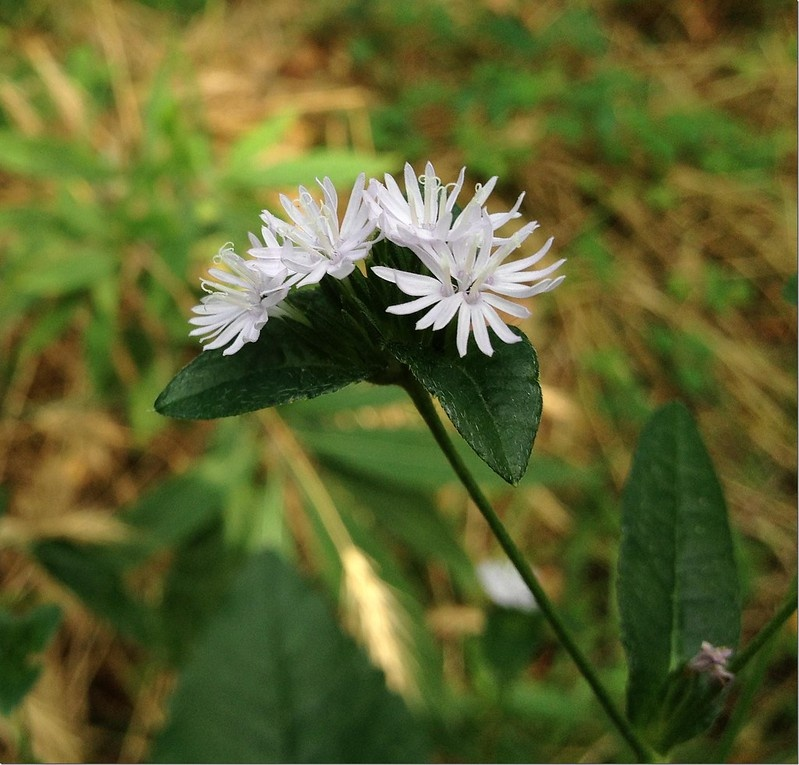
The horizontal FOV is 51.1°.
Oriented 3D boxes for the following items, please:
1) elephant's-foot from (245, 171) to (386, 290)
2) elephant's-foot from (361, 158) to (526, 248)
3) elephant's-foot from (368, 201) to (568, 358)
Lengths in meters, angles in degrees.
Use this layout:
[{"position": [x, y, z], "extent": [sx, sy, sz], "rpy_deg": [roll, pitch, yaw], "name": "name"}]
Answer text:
[{"position": [-0.123, -0.275, 1.601], "extent": [0.194, 0.176, 0.081], "rpy_deg": [-12, 70, -46], "name": "elephant's-foot"}, {"position": [0.062, -0.303, 1.554], "extent": [0.274, 0.090, 0.228], "rpy_deg": [-5, 29, -23], "name": "elephant's-foot"}, {"position": [0.152, -0.170, 1.585], "extent": [0.322, 0.151, 0.290], "rpy_deg": [28, 76, 17], "name": "elephant's-foot"}]
